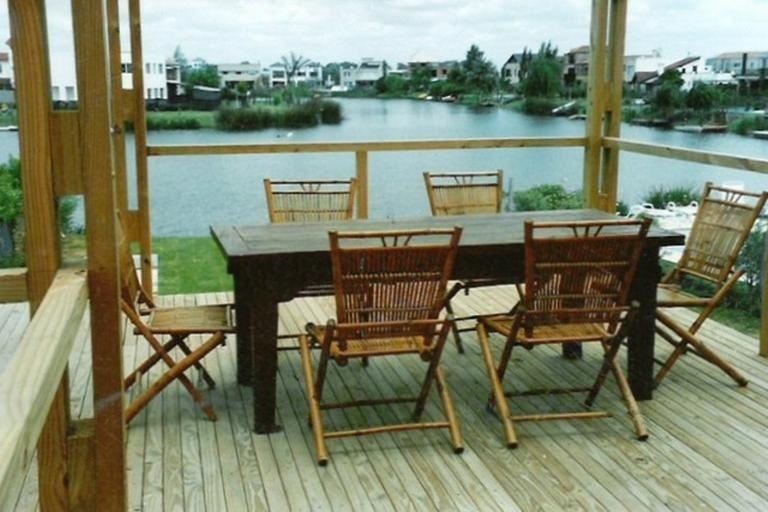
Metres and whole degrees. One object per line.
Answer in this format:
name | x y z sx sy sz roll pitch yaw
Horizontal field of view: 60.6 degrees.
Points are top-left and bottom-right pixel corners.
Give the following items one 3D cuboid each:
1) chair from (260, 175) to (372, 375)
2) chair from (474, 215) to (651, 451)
chair | -0.514 -0.073 4.640 0.905 1.410 0.942 -1 2 -6
chair | 0.862 0.301 3.113 0.765 1.081 0.499 -3 20 -5
